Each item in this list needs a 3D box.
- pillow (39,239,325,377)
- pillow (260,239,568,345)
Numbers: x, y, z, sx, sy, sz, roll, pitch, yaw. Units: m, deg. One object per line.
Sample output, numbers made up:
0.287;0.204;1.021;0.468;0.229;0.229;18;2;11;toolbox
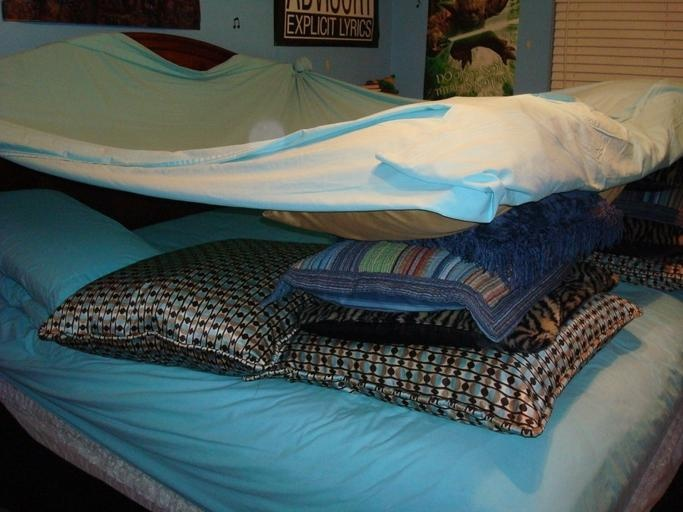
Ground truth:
-0.438;0.138;1.481;0.440;0.137;0.470;0;11;10;pillow
0.289;0.051;1.617;0.643;0.181;0.807;5;4;40;pillow
